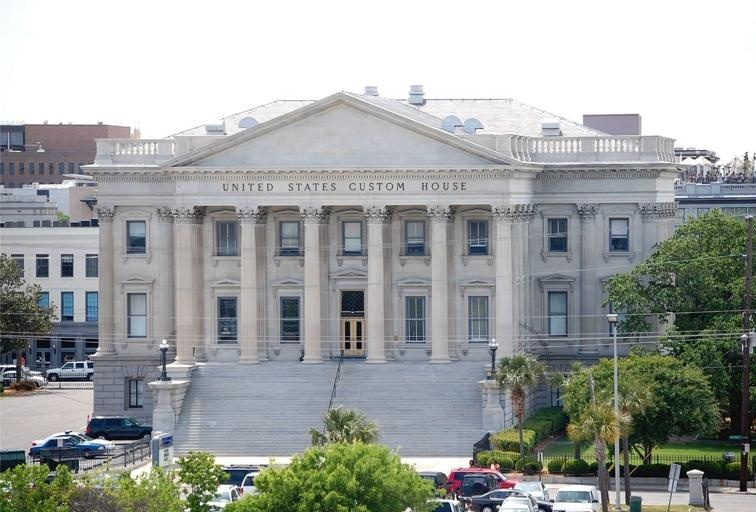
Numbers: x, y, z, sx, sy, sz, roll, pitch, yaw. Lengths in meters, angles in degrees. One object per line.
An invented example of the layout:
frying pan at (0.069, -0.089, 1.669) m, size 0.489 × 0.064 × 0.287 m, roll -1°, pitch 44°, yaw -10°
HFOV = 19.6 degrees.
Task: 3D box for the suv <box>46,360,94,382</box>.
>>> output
suv at (-27.859, 10.592, 199.685) m, size 3.861 × 2.036 × 4.596 m, roll 1°, pitch -7°, yaw -11°

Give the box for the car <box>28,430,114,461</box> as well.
car at (-21.629, 13.628, 155.782) m, size 5.013 × 1.506 × 2.210 m, roll -2°, pitch 1°, yaw -4°

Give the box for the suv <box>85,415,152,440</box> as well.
suv at (-19.006, 12.946, 162.714) m, size 4.448 × 1.560 × 1.979 m, roll -1°, pitch -1°, yaw 0°

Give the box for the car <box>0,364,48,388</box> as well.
car at (-31.177, 10.704, 193.777) m, size 3.719 × 1.573 × 2.100 m, roll -2°, pitch -1°, yaw 7°
